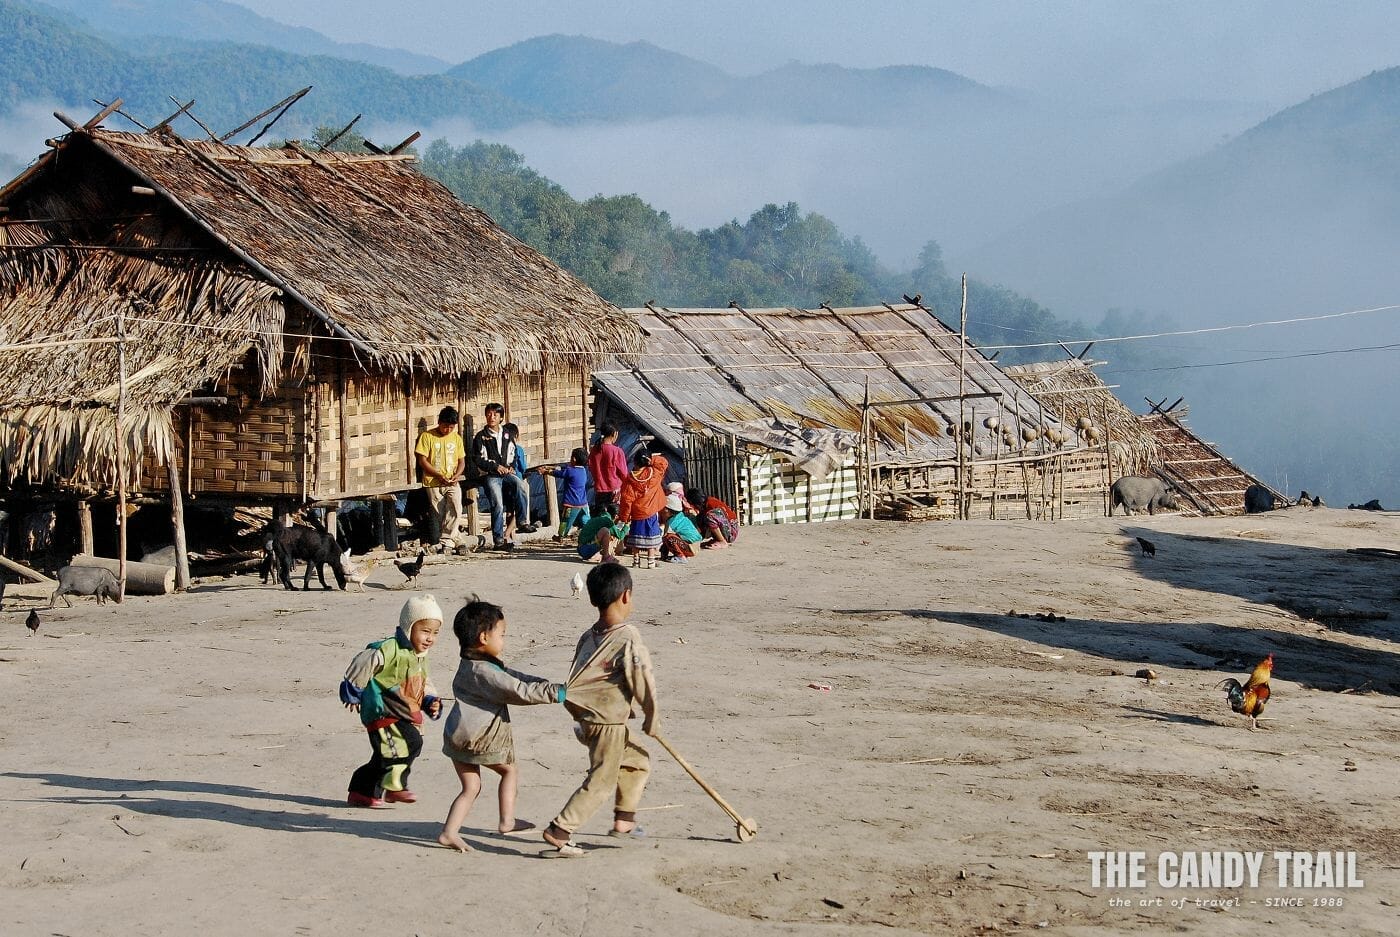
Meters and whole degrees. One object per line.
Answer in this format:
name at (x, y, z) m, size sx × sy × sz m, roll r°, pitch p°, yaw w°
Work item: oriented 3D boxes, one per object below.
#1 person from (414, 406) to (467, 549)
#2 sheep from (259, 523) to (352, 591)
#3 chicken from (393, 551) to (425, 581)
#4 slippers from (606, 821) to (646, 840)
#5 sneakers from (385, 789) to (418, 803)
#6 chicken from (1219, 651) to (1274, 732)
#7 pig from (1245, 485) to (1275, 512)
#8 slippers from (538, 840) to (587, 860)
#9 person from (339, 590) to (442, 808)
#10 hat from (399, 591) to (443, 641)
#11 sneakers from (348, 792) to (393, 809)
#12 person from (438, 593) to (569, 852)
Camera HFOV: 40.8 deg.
person at (-3.818, 0.143, 27.401) m, size 0.637 × 2.203 × 0.869 m, roll 2°, pitch 13°, yaw -2°
sheep at (-5.363, 1.217, 25.444) m, size 1.027 × 0.958 × 1.309 m, roll -2°, pitch 14°, yaw -21°
chicken at (-4.062, 1.388, 26.314) m, size 0.428 × 0.412 × 0.272 m, roll -2°, pitch -3°, yaw 18°
slippers at (-0.721, 3.387, 17.710) m, size 0.396 × 0.163 × 0.143 m, roll 0°, pitch 6°, yaw -30°
sneakers at (-2.906, 3.188, 18.154) m, size 0.315 × 0.137 × 0.110 m, roll -4°, pitch 18°, yaw 6°
chicken at (6.166, 2.510, 21.223) m, size 0.467 × 0.705 × 0.672 m, roll 6°, pitch 13°, yaw 14°
pig at (13.530, 0.745, 45.592) m, size 0.654 × 0.487 × 1.128 m, roll 8°, pitch 14°, yaw 20°
slippers at (-1.272, 3.517, 17.289) m, size 0.304 × 0.103 × 0.169 m, roll -2°, pitch -1°, yaw 2°
person at (-2.969, 2.214, 17.982) m, size 0.911 × 2.107 × 0.539 m, roll 1°, pitch 13°, yaw -9°
hat at (-2.673, 1.390, 17.808) m, size 0.452 × 0.422 × 0.374 m, roll 0°, pitch -5°, yaw 26°
sneakers at (-3.193, 3.212, 18.182) m, size 0.448 × 0.181 × 0.161 m, roll 2°, pitch 4°, yaw -4°
person at (-1.910, 2.316, 17.441) m, size 0.976 × 2.305 × 0.888 m, roll 2°, pitch 13°, yaw -5°
